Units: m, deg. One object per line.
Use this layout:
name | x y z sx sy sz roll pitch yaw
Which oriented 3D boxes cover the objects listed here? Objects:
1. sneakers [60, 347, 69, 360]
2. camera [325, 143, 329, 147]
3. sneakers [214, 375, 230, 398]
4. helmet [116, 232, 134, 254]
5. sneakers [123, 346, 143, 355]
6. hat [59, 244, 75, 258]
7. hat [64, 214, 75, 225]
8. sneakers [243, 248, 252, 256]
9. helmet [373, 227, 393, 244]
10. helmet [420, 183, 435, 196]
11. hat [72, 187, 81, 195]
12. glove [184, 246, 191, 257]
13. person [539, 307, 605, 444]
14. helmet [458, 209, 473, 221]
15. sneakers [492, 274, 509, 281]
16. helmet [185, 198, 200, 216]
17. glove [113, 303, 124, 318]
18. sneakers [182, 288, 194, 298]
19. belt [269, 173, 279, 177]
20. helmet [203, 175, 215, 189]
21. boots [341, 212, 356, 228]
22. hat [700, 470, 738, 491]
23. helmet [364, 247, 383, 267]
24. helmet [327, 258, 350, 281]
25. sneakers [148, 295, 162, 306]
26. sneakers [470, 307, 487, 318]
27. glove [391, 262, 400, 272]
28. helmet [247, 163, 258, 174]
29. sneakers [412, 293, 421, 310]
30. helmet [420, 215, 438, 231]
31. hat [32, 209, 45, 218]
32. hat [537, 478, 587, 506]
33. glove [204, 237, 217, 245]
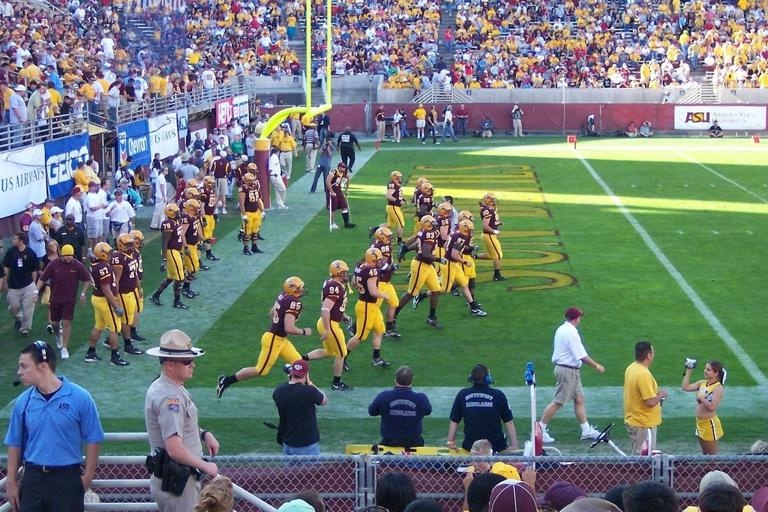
sneakers | -7.018 2.153 28.304 0.119 0.123 0.320 -4 7 -23
camera | -1.738 -3.542 40.221 0.084 0.136 0.201 -7 14 -24
sneakers | -3.332 2.688 26.573 0.246 0.565 0.198 31 16 14
helmet | -5.656 -0.283 28.289 0.409 0.385 0.345 2 7 22
sneakers | -5.553 2.109 28.512 0.422 0.175 0.151 0 14 -11
hat | -6.925 -0.130 28.163 0.260 0.196 0.359 8 -9 -25
hat | -7.677 -0.913 31.490 0.211 0.255 0.279 4 13 -11
sneakers | -3.685 -0.134 34.789 0.281 0.258 0.130 -3 15 -8
helmet | 0.006 -0.485 29.370 0.389 0.306 0.303 -12 32 -20
helmet | 1.215 -1.807 33.836 0.396 0.334 0.253 -10 16 -35
hat | -7.994 -1.763 33.488 0.198 0.194 0.381 -4 14 -15
glove | -4.762 -0.148 31.361 0.171 0.248 0.234 -3 13 -10
person | 3.772 2.357 25.669 1.184 2.585 1.171 1 13 7
helmet | 1.957 -0.947 30.599 0.306 0.195 0.516 -1 13 -1
sneakers | 2.986 0.527 32.549 0.379 0.246 0.142 -2 12 -8
helmet | -4.637 -1.219 31.500 0.319 0.392 0.487 12 18 43
glove | -5.727 1.184 27.856 0.197 0.199 0.232 -1 1 -5
sneakers | -4.770 0.899 31.469 0.194 0.090 0.274 0 15 -33
belt | -3.294 -2.502 39.104 0.125 0.094 0.128 -2 8 -25
helmet | -4.583 -1.976 33.758 0.241 0.260 0.322 0 3 -43
boots | -1.000 -1.121 37.391 0.366 0.479 0.586 -1 13 -2
hat | 5.445 3.661 20.976 0.519 0.479 0.401 6 -8 34
helmet | -0.216 -0.016 27.895 0.363 0.296 0.501 -1 13 -1
helmet | -0.937 0.277 27.320 0.434 0.391 0.364 -4 20 -8
sneakers | -5.503 1.063 31.016 0.139 0.156 0.371 -7 29 -41
sneakers | 2.253 1.330 30.203 0.401 0.180 0.149 3 10 12
glove | 0.292 0.242 30.348 0.199 0.254 0.646 4 12 2
helmet | -3.696 -2.530 36.401 0.379 0.370 0.287 1 34 -2
sneakers | 0.777 1.084 30.195 0.177 0.377 0.141 -29 57 -35
helmet | 1.048 -0.785 29.778 0.339 0.359 0.271 37 -7 -30
hat | -8.396 -1.078 31.449 0.362 0.164 0.229 -5 6 45
hat | 2.945 3.953 20.911 0.693 0.411 0.476 1 13 8
glove | -4.614 -0.413 34.240 0.206 0.112 0.290 3 2 13
